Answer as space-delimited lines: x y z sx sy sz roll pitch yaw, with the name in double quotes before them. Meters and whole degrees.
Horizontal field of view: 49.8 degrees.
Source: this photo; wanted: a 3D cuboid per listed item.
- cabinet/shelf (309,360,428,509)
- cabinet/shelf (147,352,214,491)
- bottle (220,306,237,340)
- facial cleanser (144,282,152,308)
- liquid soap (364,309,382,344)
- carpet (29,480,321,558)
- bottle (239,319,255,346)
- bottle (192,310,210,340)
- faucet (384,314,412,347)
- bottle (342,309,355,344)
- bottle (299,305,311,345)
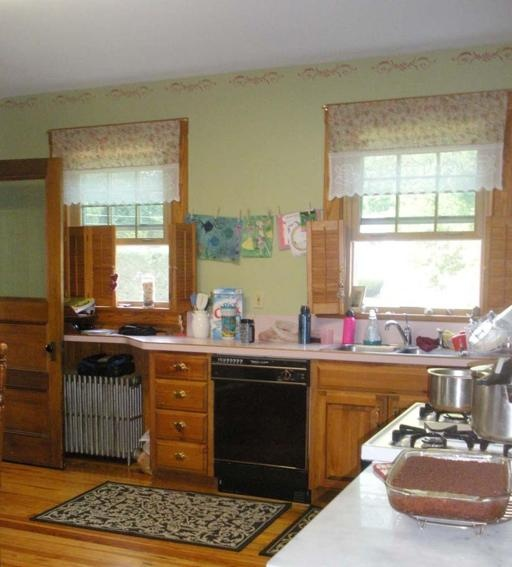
"cabinet/shelf" 0.685 0.927 3.308 0.528 0.829 0.595 11 -9 -26
"cabinet/shelf" -0.479 0.820 3.507 0.464 0.760 0.110 0 3 29
"bottle" -0.188 0.262 3.775 0.110 0.235 0.100 -1 2 -3
"facial cleanser" -0.838 0.083 4.280 0.073 0.189 0.040 -2 2 -11
"liquid soap" 0.769 0.285 3.623 0.115 0.231 0.130 -1 2 11
"carpet" -0.520 1.292 3.133 1.280 0.037 0.695 0 2 20
"bottle" -0.059 0.311 3.602 0.086 0.149 0.161 -1 2 -4
"bottle" -0.392 0.283 3.867 0.131 0.194 0.163 -1 2 -6
"faucet" 0.909 0.313 3.521 0.176 0.168 0.255 -1 2 13
"bottle" 0.610 0.288 3.629 0.083 0.226 0.139 -1 2 8
"bottle" 0.321 0.269 3.648 0.089 0.245 0.197 -1 2 5
